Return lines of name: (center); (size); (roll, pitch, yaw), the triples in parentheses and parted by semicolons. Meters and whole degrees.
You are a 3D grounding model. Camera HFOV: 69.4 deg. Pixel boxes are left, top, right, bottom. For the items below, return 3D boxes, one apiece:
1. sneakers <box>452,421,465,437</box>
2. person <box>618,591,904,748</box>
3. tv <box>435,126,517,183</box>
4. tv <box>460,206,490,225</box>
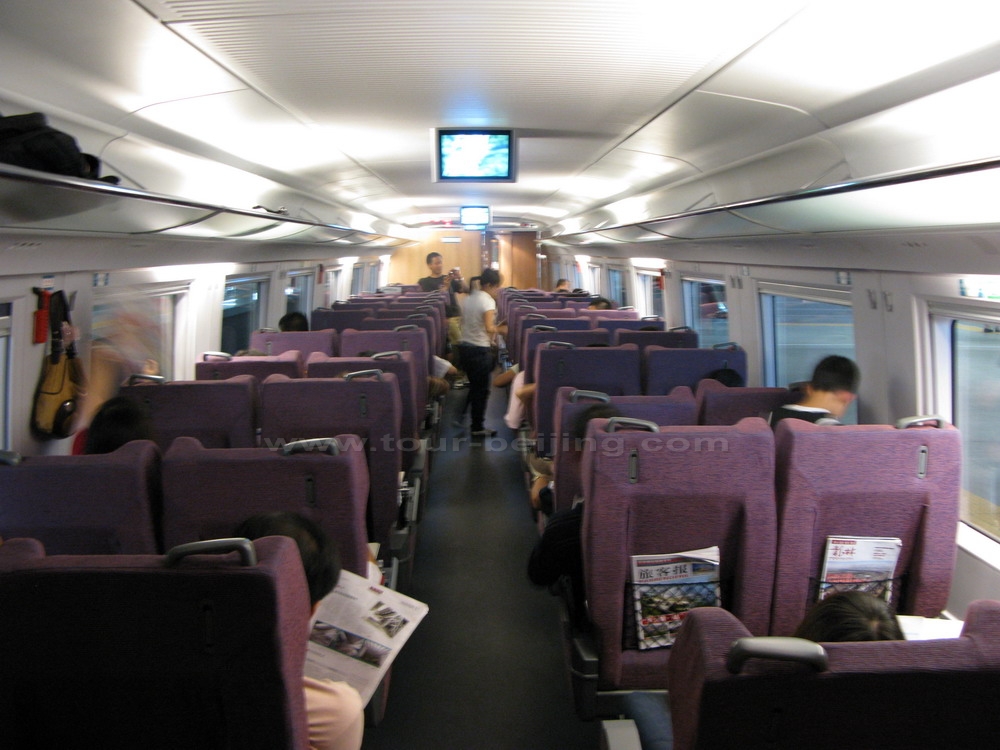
sneakers: (-0.519, 0.700, 9.226); (0.148, 0.219, 0.132); (3, 13, 9)
person: (0.751, 0.903, 2.147); (0.755, 0.600, 0.255); (5, 13, 19)
tv: (-0.237, -2.153, 7.116); (0.791, 0.438, 0.641); (0, 12, -5)
tv: (-0.584, -3.645, 16.785); (0.836, 0.468, 0.411); (0, -1, -3)
